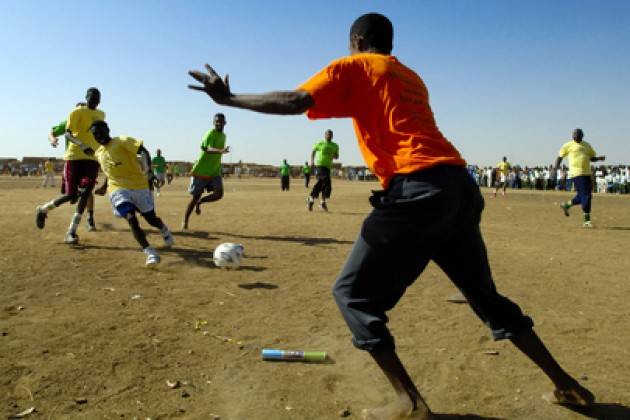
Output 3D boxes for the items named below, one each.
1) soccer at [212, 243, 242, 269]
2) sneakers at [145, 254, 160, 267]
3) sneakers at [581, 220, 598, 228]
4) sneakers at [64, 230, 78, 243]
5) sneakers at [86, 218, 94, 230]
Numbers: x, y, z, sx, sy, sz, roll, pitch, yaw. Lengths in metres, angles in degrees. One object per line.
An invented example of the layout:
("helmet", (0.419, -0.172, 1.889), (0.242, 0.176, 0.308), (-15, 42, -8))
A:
("soccer", (-1.199, 0.618, 5.443), (0.289, 0.294, 0.360), (-4, -6, -26))
("sneakers", (-2.448, 0.756, 6.062), (0.127, 0.127, 0.275), (-1, 1, -42))
("sneakers", (7.143, 0.364, 10.654), (0.160, 0.218, 0.467), (2, -5, -29))
("sneakers", (-4.452, 0.486, 7.364), (0.194, 0.243, 0.316), (0, 6, -30))
("sneakers", (-4.975, 0.333, 8.910), (0.148, 0.181, 0.400), (1, -8, -27))
